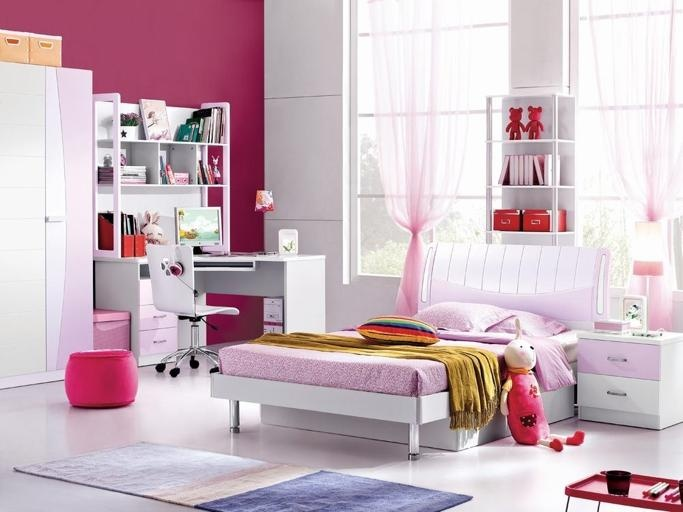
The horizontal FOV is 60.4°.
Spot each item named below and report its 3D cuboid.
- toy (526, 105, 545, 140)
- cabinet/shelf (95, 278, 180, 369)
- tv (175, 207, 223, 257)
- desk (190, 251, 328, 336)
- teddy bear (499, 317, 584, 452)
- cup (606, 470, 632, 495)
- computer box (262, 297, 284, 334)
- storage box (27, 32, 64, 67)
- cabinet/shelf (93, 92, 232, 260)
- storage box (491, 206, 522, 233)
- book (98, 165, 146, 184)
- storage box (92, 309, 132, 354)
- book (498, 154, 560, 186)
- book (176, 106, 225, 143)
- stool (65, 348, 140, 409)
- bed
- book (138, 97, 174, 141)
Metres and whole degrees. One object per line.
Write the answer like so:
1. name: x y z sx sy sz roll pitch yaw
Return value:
1. toy: 1.875 -1.302 5.738 0.179 0.351 0.181 -1 4 20
2. cabinet/shelf: -2.260 0.687 6.294 0.969 1.286 0.654 1 4 33
3. tv: -1.568 -0.276 6.403 0.558 0.559 0.211 -1 0 -38
4. desk: -0.878 0.291 6.266 1.596 1.042 0.828 0 -2 27
5. teddy bear: 1.247 0.798 3.689 0.462 0.728 0.442 -1 4 22
6. cup: 0.835 0.684 1.779 0.066 0.056 0.072 1 -6 6
7. computer box: -0.755 0.667 6.133 0.249 0.416 0.159 11 -20 -44
8. storage box: -2.618 -1.802 5.260 0.290 0.280 0.290 4 5 41
9. cabinet/shelf: -1.966 -0.863 6.297 0.573 2.217 1.923 -1 0 38
10. storage box: 1.620 -0.345 5.741 0.221 0.169 0.224 1 2 34
11. book: -2.223 -0.832 6.035 0.193 0.189 0.506 1 5 41
12. storage box: -2.268 0.755 5.824 0.367 0.358 0.371 -2 -2 29
13. book: 1.802 -0.826 5.665 0.558 0.324 0.247 -2 4 15
14. book: -1.529 -1.506 6.568 0.443 0.459 0.120 -3 -12 4
15. stool: -1.840 0.926 4.542 0.457 0.385 0.457 0 0 -35
16. bed: 0.791 0.554 4.264 1.578 1.114 2.156 1 1 38
17. book: -1.970 -1.459 6.357 0.354 0.475 0.358 -5 4 -30
